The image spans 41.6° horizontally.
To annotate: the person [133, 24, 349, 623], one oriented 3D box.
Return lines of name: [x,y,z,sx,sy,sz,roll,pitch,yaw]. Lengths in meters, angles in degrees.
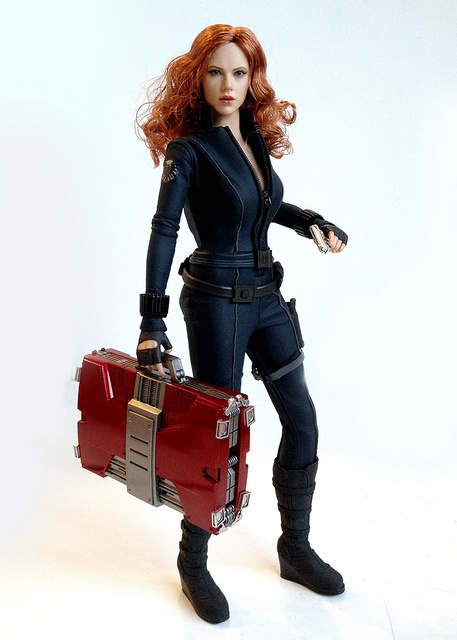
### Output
person: [0.052,0.035,2.125,0.756,1.954,0.663,-2,15,-10]
